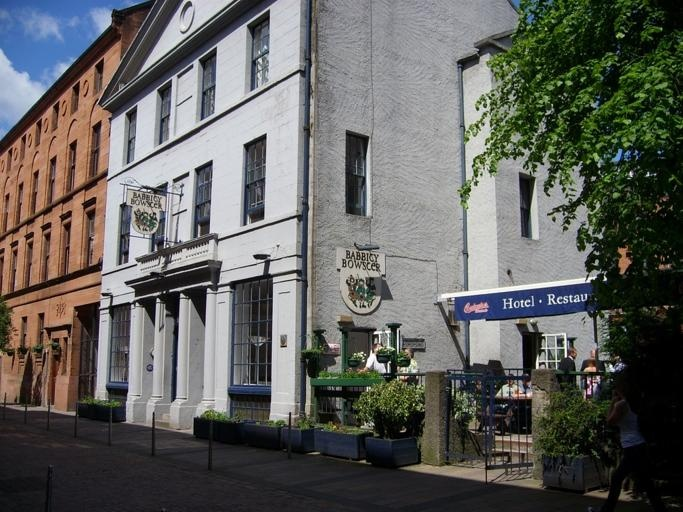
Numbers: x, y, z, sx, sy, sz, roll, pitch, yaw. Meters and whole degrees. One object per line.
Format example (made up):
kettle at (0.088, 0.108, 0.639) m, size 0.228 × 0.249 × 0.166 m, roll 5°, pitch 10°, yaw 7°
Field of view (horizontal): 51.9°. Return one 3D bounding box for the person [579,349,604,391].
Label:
person at (7.357, 3.526, 20.777) m, size 0.482 × 1.434 × 0.377 m, roll 5°, pitch -22°, yaw 18°

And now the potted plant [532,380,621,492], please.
potted plant at (4.752, 3.706, 14.626) m, size 1.743 × 2.523 × 1.604 m, roll -1°, pitch -2°, yaw 13°

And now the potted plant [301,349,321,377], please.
potted plant at (-0.911, 3.126, 20.365) m, size 0.772 × 0.922 × 0.678 m, roll 0°, pitch -5°, yaw 2°

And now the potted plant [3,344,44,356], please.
potted plant at (-18.122, 5.354, 40.143) m, size 3.223 × 0.893 × 0.863 m, roll -3°, pitch -12°, yaw 35°

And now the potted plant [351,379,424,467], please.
potted plant at (1.159, 4.030, 17.477) m, size 1.589 × 2.220 × 1.989 m, roll 6°, pitch -12°, yaw -30°

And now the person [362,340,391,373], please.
person at (0.971, 2.979, 20.075) m, size 0.319 × 0.938 × 1.062 m, roll 4°, pitch 5°, yaw 38°

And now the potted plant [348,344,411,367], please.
potted plant at (1.305, 2.879, 19.474) m, size 1.188 × 0.422 × 0.855 m, roll 8°, pitch -16°, yaw -26°
